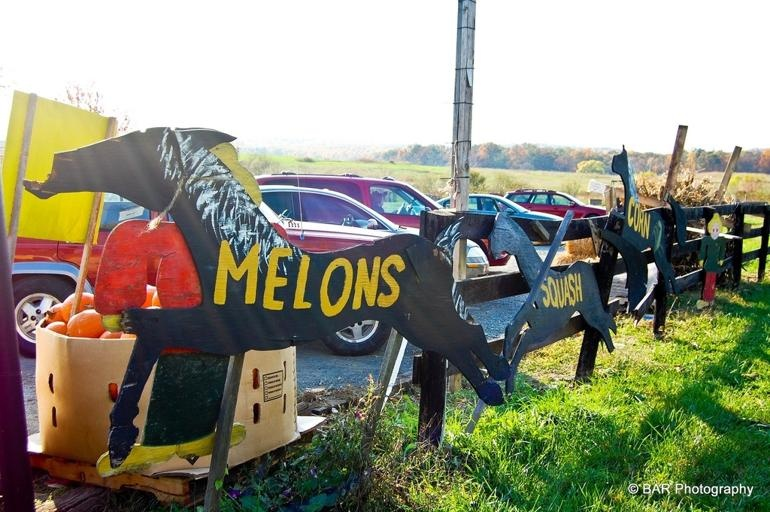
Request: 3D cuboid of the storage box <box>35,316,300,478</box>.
[{"bbox_3d":[-1.451,0.940,4.101,1.482,0.998,1.467,-5,-8,13],"label":"storage box"}]
